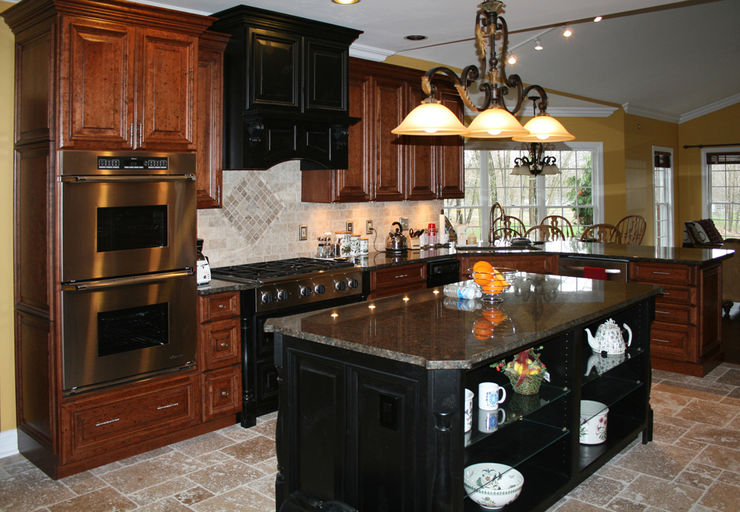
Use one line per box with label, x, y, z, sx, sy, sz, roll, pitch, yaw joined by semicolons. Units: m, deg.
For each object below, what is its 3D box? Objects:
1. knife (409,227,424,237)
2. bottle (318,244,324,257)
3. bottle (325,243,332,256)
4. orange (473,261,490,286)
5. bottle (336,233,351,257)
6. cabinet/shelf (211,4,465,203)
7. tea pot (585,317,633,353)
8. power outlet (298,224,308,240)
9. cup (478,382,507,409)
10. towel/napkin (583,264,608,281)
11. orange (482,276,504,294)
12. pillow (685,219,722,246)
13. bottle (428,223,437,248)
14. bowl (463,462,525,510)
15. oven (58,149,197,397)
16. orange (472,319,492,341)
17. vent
knife;0.552;-0.275;6.744;0.163;0.091;0.250;-3;11;-10
bottle;-0.502;-0.057;5.728;0.045;0.127;0.109;-9;14;-35
bottle;-0.417;-0.062;5.733;0.039;0.122;0.108;7;13;33
orange;0.736;0.108;3.780;0.151;0.164;0.143;0;-6;-9
bottle;-0.270;-0.117;5.817;0.162;0.230;0.137;-2;11;-7
cabinet/shelf;-0.386;-1.421;5.192;0.413;0.866;2.060;2;6;36
tea pot;1.761;0.565;4.014;0.356;0.219;0.235;0;1;-17
power outlet;-0.676;-0.236;5.708;0.026;0.160;0.130;7;14;35
cup;0.705;0.796;3.200;0.200;0.122;0.123;5;-6;-41
towel/napkin;2.225;0.167;5.525;0.224;0.132;0.230;1;2;45
orange;0.824;0.198;3.745;0.129;0.074;0.127;-2;4;-1
pillow;5.447;-0.379;9.115;0.574;0.511;0.164;15;-33;-30
bottle;0.744;-0.250;6.716;0.104;0.262;0.244;0;11;6
bowl;0.688;1.199;3.145;0.321;0.144;0.312;-1;1;0
oven;-1.617;0.147;4.379;1.196;1.760;1.097;-8;-8;20
orange;0.623;0.415;3.102;0.079;0.084;0.077;2;0;3
vent;-0.739;-1.511;4.972;0.550;1.272;1.585;-2;-1;43
